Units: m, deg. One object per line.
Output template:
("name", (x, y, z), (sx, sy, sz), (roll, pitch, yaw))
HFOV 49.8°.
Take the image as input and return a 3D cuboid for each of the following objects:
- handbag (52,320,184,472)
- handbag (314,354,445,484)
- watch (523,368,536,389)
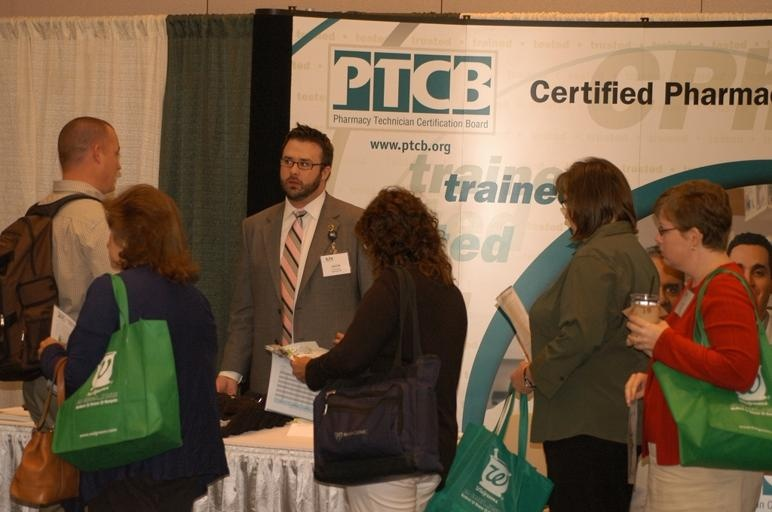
("handbag", (-1.167, 0.620, 3.666), (0.464, 0.673, 0.218), (-11, -29, 8))
("handbag", (-0.021, 0.739, 3.717), (0.408, 0.436, 0.236), (-14, -30, 24))
("watch", (0.726, 0.627, 4.202), (0.023, 0.090, 0.083), (7, -9, -44))
